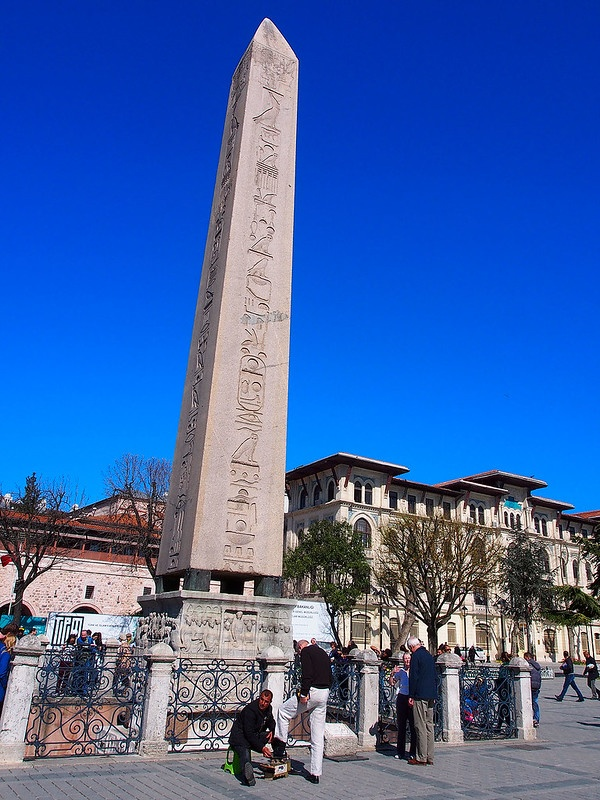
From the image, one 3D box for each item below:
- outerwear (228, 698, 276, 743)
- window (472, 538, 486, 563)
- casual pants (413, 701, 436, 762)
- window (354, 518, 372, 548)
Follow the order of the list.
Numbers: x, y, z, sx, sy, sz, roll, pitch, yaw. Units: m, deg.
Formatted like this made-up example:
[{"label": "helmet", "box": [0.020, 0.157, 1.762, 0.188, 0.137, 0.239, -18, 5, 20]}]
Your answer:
[{"label": "outerwear", "box": [-0.445, 3.299, 5.491, 0.409, 0.528, 0.406, -10, -44, 15]}, {"label": "window", "box": [12.657, 10.513, 37.218, 0.458, 1.682, 0.518, -2, -32, 8]}, {"label": "casual pants", "box": [1.662, 4.303, 7.023, 0.233, 0.836, 0.191, 16, -28, -14]}, {"label": "window", "box": [5.649, 11.702, 47.132, 1.773, 3.550, 0.270, 13, -29, -22]}]
